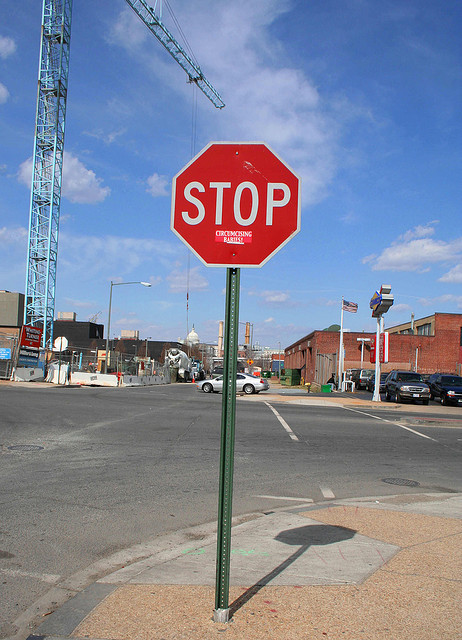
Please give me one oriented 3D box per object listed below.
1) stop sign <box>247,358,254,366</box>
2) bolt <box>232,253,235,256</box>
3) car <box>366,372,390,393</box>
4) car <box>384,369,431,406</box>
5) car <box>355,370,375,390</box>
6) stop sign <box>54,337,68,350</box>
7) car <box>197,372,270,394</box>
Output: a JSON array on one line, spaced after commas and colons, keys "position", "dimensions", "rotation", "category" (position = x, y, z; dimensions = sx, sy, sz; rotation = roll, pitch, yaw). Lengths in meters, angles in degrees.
[{"position": [2.101, 4.574, 59.273], "dimensions": [0.498, 0.285, 0.717], "rotation": [-3, -34, 3], "category": "stop sign"}, {"position": [0.017, -0.362, 3.037], "dimensions": [0.014, 0.014, 0.008], "rotation": [4, 23, 3], "category": "bolt"}, {"position": [12.682, 5.351, 46.609], "dimensions": [1.393, 1.204, 2.823], "rotation": [1, -11, -3], "category": "car"}, {"position": [9.927, 3.787, 30.412], "dimensions": [1.746, 1.826, 3.111], "rotation": [2, -6, 8], "category": "car"}, {"position": [12.611, 5.674, 52.011], "dimensions": [1.187, 1.293, 2.252], "rotation": [0, 0, 16], "category": "car"}, {"position": [-10.448, 1.454, 33.589], "dimensions": [1.043, 0.758, 1.379], "rotation": [9, -5, -13], "category": "stop sign"}, {"position": [0.267, 3.790, 32.129], "dimensions": [3.962, 1.197, 1.778], "rotation": [3, -6, -3], "category": "car"}]
